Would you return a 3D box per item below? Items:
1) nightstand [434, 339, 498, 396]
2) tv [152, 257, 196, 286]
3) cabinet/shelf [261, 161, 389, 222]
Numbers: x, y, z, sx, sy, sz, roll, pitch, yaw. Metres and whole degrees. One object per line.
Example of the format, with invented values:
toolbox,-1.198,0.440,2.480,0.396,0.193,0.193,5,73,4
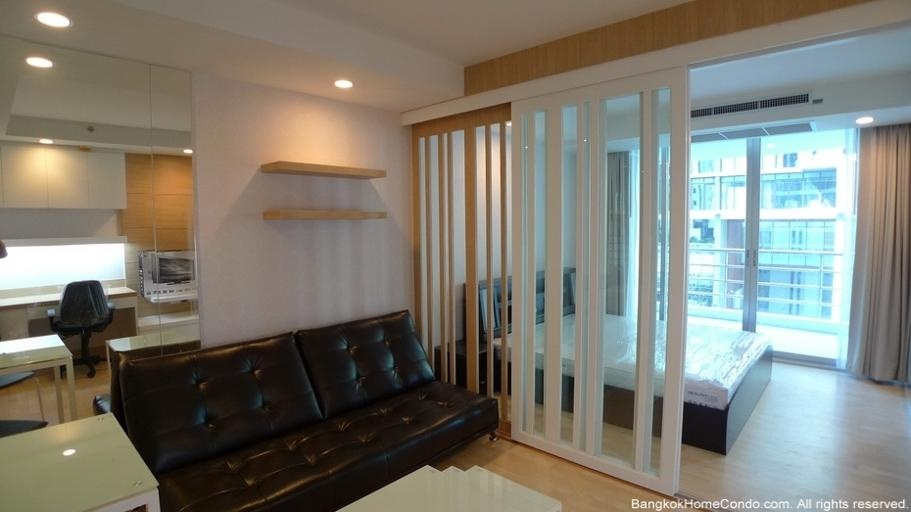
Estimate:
nightstand,0.126,1.206,6.504,0.612,0.565,0.636,7,11,38
tv,-2.565,0.137,5.272,0.238,0.278,0.436,2,1,41
cabinet/shelf,-1.301,-0.646,5.828,1.214,0.609,0.301,-5,6,-32
